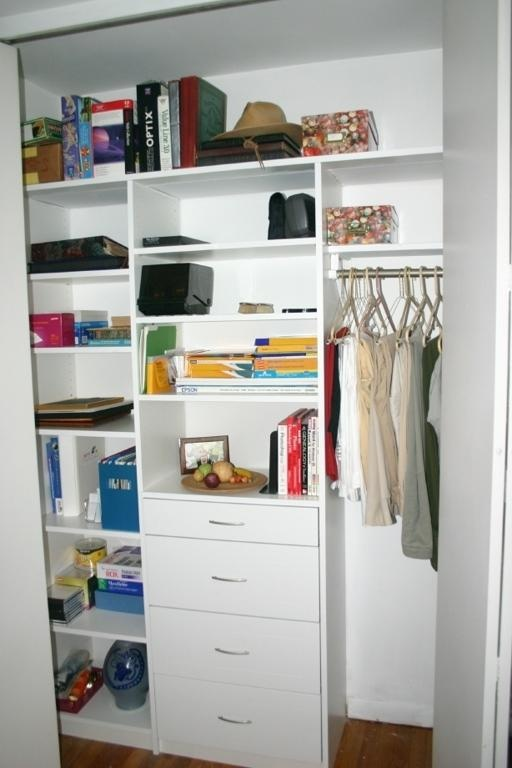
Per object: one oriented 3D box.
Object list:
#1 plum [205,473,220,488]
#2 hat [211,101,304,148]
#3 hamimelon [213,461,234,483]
[{"bbox_3d":[-0.153,0.339,2.113,0.040,0.057,0.045,-1,-9,1],"label":"plum"},{"bbox_3d":[0.011,-0.864,2.011,0.203,0.109,0.267,3,20,7],"label":"hat"},{"bbox_3d":[-0.120,0.319,2.188,0.056,0.086,0.068,-6,0,8],"label":"hamimelon"}]
